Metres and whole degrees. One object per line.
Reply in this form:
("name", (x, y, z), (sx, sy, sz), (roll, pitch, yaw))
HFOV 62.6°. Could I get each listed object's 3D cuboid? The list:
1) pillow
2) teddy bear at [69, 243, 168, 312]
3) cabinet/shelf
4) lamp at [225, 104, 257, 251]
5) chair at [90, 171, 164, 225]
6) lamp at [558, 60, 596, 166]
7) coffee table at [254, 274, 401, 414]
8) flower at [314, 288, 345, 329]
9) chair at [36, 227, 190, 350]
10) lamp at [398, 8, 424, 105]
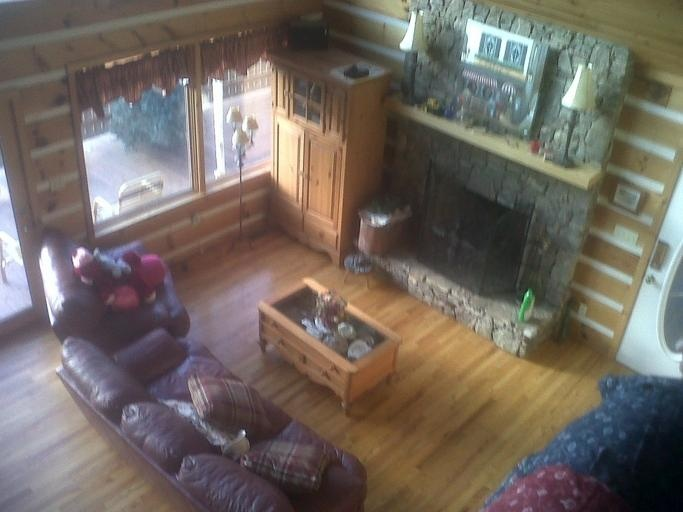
("pillow", (-0.559, 1.162, 3.808), (0.979, 0.429, 0.604), (28, 25, 16))
("teddy bear", (-2.029, 0.195, 5.094), (0.659, 0.272, 0.538), (17, 53, -24))
("cabinet/shelf", (-0.079, -1.172, 6.342), (0.793, 2.233, 1.197), (-27, 52, -31))
("lamp", (-1.164, -1.049, 6.246), (0.300, 0.330, 1.123), (-2, 46, -21))
("chair", (-2.298, -0.603, 5.892), (0.543, 0.363, 0.217), (-36, 76, -27))
("lamp", (2.066, -1.230, 4.920), (0.273, 0.848, 0.389), (16, 40, 22))
("coffee table", (-0.123, 0.756, 5.168), (0.945, 0.783, 1.488), (-30, 57, -34))
("flower", (-0.114, 0.470, 5.220), (0.273, 0.425, 0.303), (-2, 42, -4))
("chair", (-2.118, 0.479, 5.357), (1.047, 0.845, 1.151), (-20, 71, -23))
("lamp", (0.731, -2.051, 5.871), (0.231, 0.899, 0.378), (4, 37, 7))
